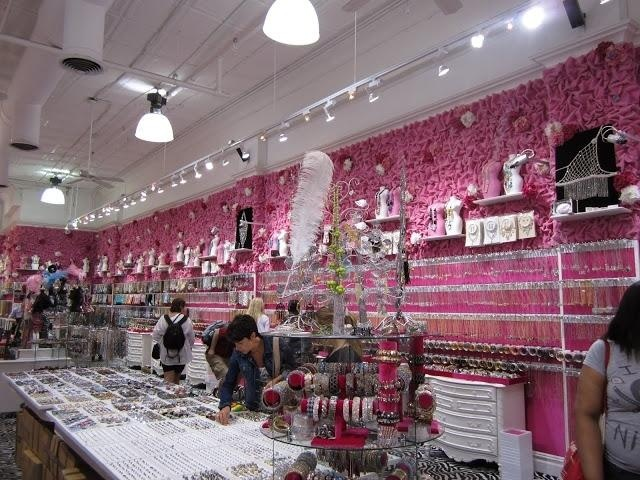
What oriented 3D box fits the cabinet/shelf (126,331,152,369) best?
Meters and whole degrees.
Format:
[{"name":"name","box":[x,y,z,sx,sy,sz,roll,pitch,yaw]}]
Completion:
[{"name":"cabinet/shelf","box":[-4.812,2.940,11.101,1.092,0.637,0.269,-7,-3,35]}]

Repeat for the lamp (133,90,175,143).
[{"name":"lamp","box":[-2.348,-1.767,5.905,0.446,0.660,0.441,13,15,27]}]

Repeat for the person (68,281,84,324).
[{"name":"person","box":[-4.313,1.124,7.357,0.239,0.648,0.858,-4,-2,-30]}]
